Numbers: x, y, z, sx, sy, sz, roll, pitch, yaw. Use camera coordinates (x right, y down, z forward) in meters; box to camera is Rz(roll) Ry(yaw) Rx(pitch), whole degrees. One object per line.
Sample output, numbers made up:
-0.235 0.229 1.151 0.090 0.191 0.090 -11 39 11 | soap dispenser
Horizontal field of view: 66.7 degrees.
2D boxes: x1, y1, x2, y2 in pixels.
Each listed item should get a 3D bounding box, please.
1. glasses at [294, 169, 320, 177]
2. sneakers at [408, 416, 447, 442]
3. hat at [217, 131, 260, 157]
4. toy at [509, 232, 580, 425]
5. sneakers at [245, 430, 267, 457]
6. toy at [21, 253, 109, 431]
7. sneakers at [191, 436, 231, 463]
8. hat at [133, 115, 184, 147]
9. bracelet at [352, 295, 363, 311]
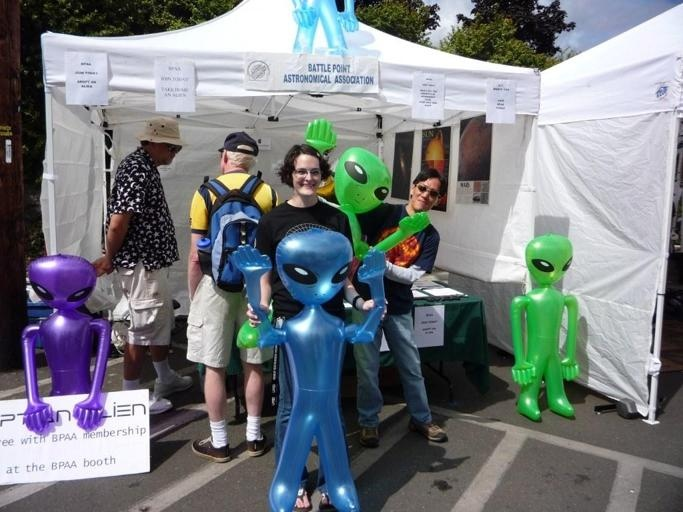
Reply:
-0.210 -0.514 3.155 0.147 0.045 0.033 -1 14 -7 | glasses
0.662 1.356 4.145 0.316 0.146 0.132 10 1 36 | sneakers
-0.780 -0.840 3.868 0.189 0.162 0.259 -3 16 -41 | hat
1.802 0.587 4.541 0.596 1.530 0.921 6 16 24 | toy
-0.646 1.417 3.918 0.091 0.102 0.227 0 1 -3 | sneakers
-1.923 0.591 3.578 0.590 1.172 0.483 -7 16 -26 | toy
-0.979 1.427 3.912 0.307 0.133 0.127 9 -3 30 | sneakers
-1.492 -0.995 4.295 0.298 0.165 0.254 -1 18 -40 | hat
0.095 0.291 3.191 0.057 0.035 0.077 8 -29 -33 | bracelet
